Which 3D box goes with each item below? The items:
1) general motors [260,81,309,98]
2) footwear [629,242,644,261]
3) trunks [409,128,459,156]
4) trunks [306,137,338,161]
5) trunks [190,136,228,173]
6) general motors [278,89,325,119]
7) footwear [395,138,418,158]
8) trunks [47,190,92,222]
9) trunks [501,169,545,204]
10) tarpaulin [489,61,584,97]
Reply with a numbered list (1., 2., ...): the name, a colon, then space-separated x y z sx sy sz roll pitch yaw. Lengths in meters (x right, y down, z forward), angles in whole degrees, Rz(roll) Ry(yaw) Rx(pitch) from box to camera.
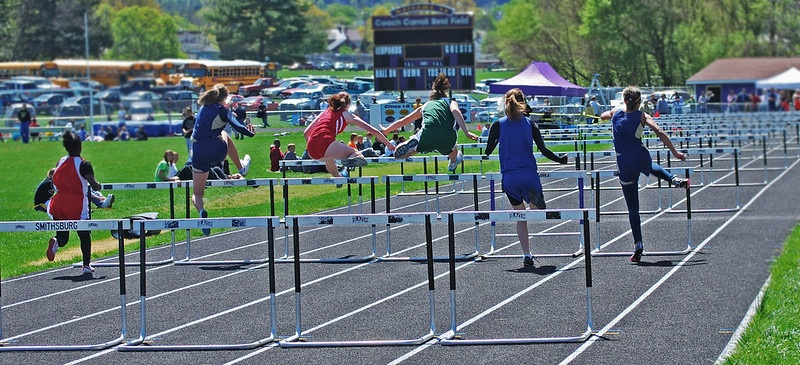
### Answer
1. general motors: -12.994 -10.506 105.128 4.712 1.394 2.060 -5 5 -38
2. footwear: 12.454 3.614 48.922 0.517 1.087 0.481 11 39 1
3. trunks: 2.245 -2.228 50.251 2.558 0.985 2.696 11 18 13
4. trunks: -4.154 -1.968 50.363 1.601 1.278 1.104 -1 14 26
5. trunks: -10.357 -1.344 50.315 1.443 1.758 2.090 4 4 40
6. general motors: -9.328 -7.771 91.296 2.739 1.939 4.968 2 6 34
7. footwear: 0.358 -1.863 49.497 1.521 0.583 0.650 -32 -2 15
8. trunks: -17.125 0.936 49.122 2.896 1.714 1.450 -5 -3 11
9. trunks: 6.469 0.155 48.441 2.283 2.771 1.694 -2 9 11
10. tarpaulin: 11.352 -7.901 75.487 4.975 1.868 4.786 1 0 17
